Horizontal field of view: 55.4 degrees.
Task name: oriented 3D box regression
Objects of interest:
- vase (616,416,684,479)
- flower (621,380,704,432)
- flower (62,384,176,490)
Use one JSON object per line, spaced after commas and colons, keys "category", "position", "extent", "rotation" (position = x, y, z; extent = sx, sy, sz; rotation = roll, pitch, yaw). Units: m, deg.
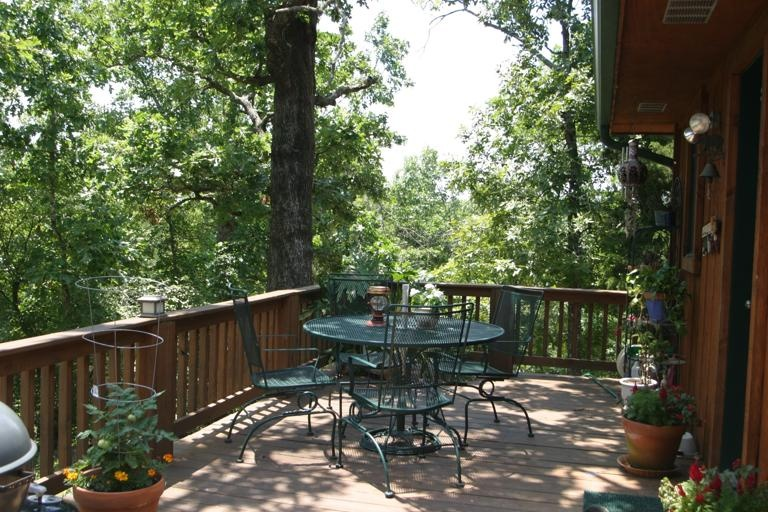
{"category": "vase", "position": [2.432, 1.717, 6.707], "extent": [0.505, 0.400, 0.516], "rotation": [-2, -4, 43]}
{"category": "flower", "position": [2.589, 1.354, 6.774], "extent": [0.603, 0.359, 0.664], "rotation": [-3, 9, 14]}
{"category": "flower", "position": [-2.182, 1.487, 6.166], "extent": [0.789, 0.902, 0.942], "rotation": [0, -2, 26]}
